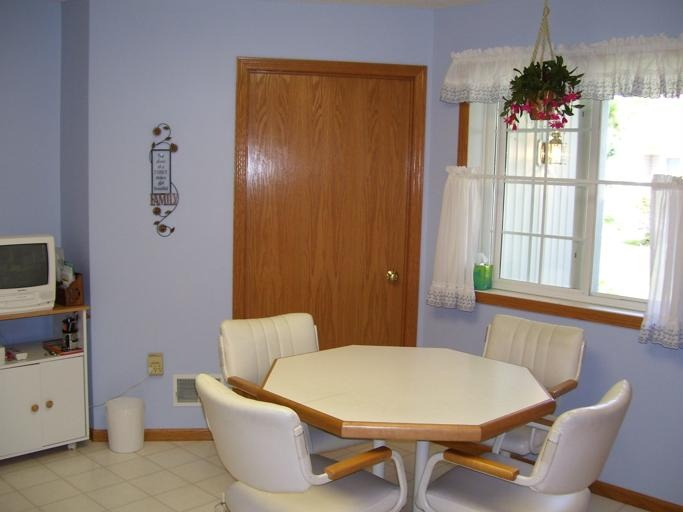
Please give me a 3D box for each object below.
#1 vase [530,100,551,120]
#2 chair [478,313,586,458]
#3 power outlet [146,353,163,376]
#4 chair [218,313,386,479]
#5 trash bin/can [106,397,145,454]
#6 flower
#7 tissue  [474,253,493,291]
[{"bbox_3d":[1.058,-0.776,2.848,0.088,0.082,0.103,1,-5,-1],"label":"vase"},{"bbox_3d":[1.123,0.729,3.256,0.661,0.919,0.787,2,-4,36],"label":"chair"},{"bbox_3d":[-1.382,0.791,3.950,0.158,0.243,0.024,0,0,-8],"label":"power outlet"},{"bbox_3d":[-0.234,0.709,3.348,0.747,1.135,0.880,-3,2,-36],"label":"chair"},{"bbox_3d":[-1.539,1.200,3.824,0.220,0.349,0.214,9,13,41],"label":"trash bin/can"},{"bbox_3d":[1.108,-0.836,2.927,0.364,0.463,0.327,-9,27,-5],"label":"flower"},{"bbox_3d":[1.062,0.108,3.959,0.112,0.258,0.241,9,12,40],"label":"tissue "}]
